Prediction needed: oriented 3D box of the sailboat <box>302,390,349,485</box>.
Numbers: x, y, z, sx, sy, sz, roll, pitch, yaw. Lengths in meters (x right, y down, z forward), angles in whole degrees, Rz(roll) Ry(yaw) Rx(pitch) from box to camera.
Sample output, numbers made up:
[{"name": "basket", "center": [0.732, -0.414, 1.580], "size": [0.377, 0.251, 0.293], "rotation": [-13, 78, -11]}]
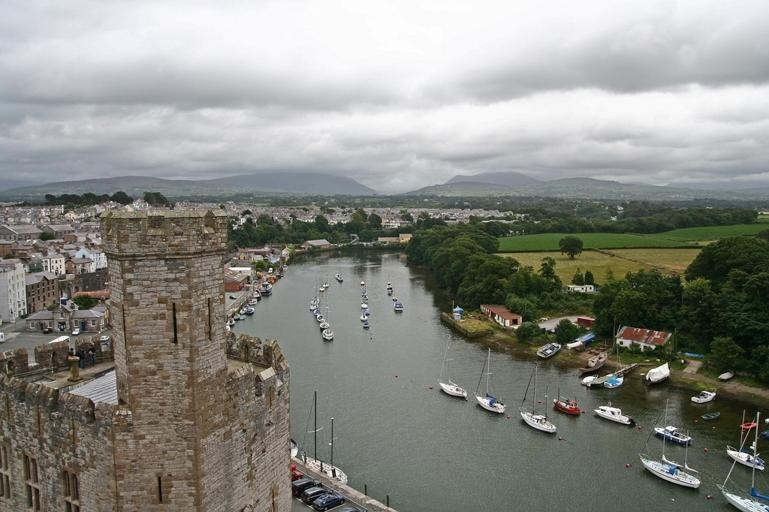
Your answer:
[{"name": "sailboat", "center": [-3.758, 11.467, 35.644], "size": [1.316, 5.180, 4.977], "rotation": [-10, 23, -41]}]

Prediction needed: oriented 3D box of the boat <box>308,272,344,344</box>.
[{"name": "boat", "center": [-7.486, 6.140, 67.604], "size": [2.391, 0.742, 26.522], "rotation": [0, 8, -7]}]

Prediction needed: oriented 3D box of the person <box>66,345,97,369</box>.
[{"name": "person", "center": [-10.011, 3.348, 18.852], "size": [0.792, 0.657, 0.264], "rotation": [7, -11, -42]}]
